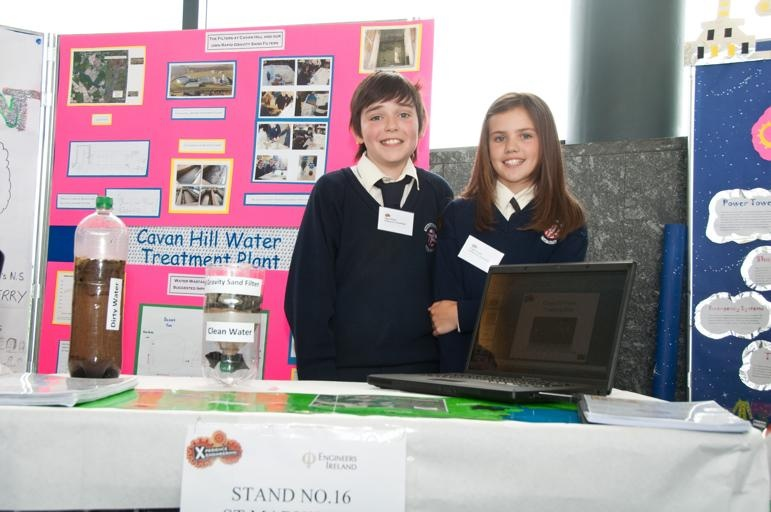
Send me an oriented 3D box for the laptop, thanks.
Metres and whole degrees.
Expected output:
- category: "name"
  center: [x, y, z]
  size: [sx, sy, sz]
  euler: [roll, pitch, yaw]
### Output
- category: "laptop"
  center: [0.409, 0.217, 1.977]
  size: [0.503, 0.358, 0.556]
  euler: [5, -5, -39]
